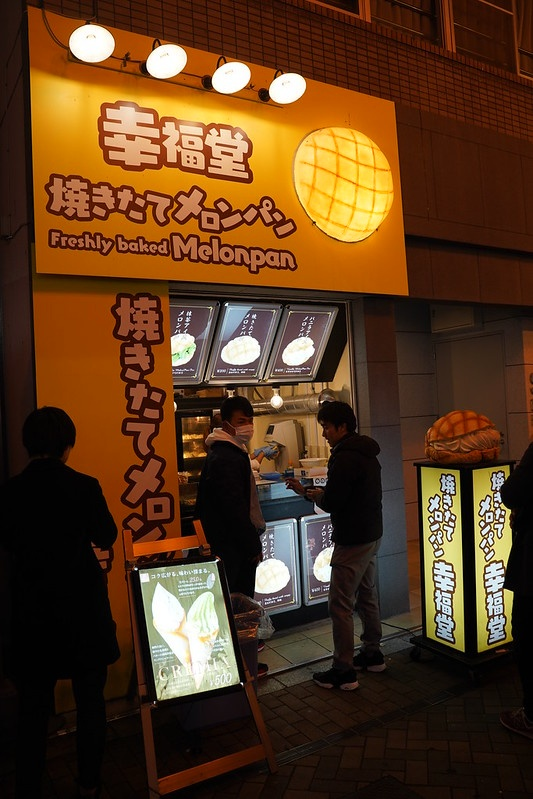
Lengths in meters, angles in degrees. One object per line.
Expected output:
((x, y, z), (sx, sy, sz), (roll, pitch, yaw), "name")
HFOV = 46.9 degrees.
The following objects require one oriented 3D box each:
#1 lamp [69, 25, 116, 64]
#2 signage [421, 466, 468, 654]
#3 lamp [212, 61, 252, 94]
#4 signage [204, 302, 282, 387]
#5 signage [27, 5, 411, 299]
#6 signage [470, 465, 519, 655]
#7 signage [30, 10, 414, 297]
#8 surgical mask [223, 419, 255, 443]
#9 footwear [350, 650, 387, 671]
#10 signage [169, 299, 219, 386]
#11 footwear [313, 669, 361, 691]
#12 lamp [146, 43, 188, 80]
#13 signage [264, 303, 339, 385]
((-0.980, -2.003, 3.430), (0.217, 0.132, 0.193), (-2, -2, -34), "lamp")
((1.162, 1.040, 4.073), (0.075, 0.935, 0.446), (-2, -2, -17), "signage")
((-0.227, -2.092, 3.954), (0.222, 0.094, 0.178), (-4, -2, 32), "lamp")
((-0.217, -0.489, 5.100), (0.685, 0.768, 0.054), (-6, 30, -40), "signage")
((-0.385, -1.688, 4.252), (2.726, 1.485, 0.022), (1, -6, -35), "signage")
((1.458, 1.017, 3.944), (0.389, 0.986, 0.109), (-1, -2, -39), "signage")
((-0.367, -1.680, 4.259), (2.681, 1.459, 0.023), (1, -6, -34), "signage")
((-0.174, 0.201, 3.883), (0.148, 0.099, 0.136), (1, -2, 17), "surgical mask")
((0.693, 1.756, 4.124), (0.102, 0.120, 0.247), (1, 0, -19), "footwear")
((-0.584, -0.481, 4.826), (0.577, 0.762, 0.079), (-14, 39, -28), "signage")
((0.442, 1.771, 3.938), (0.293, 0.143, 0.118), (-1, -5, 38), "footwear")
((-0.605, -2.048, 3.728), (0.217, 0.205, 0.215), (20, 20, -15), "lamp")
((0.287, -0.524, 5.374), (0.780, 0.895, 0.066), (0, 28, -41), "signage")
